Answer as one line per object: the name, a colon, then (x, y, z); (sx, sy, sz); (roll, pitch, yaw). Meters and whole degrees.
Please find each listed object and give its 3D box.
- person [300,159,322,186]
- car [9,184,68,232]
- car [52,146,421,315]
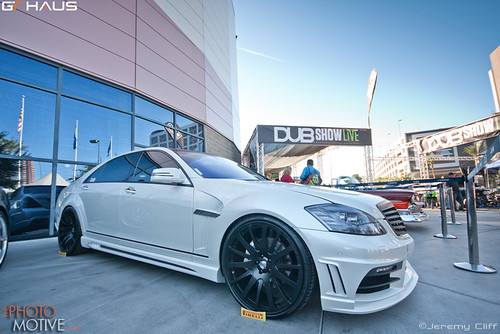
person: (1.920, 0.171, 7.694); (0.647, 0.790, 0.499); (-3, 1, -6)
car: (-6.356, 1.093, 7.349); (1.070, 0.803, 2.357); (3, -1, -32)
car: (-0.465, 0.702, 3.523); (4.793, 1.977, 1.399); (2, 6, 32)
